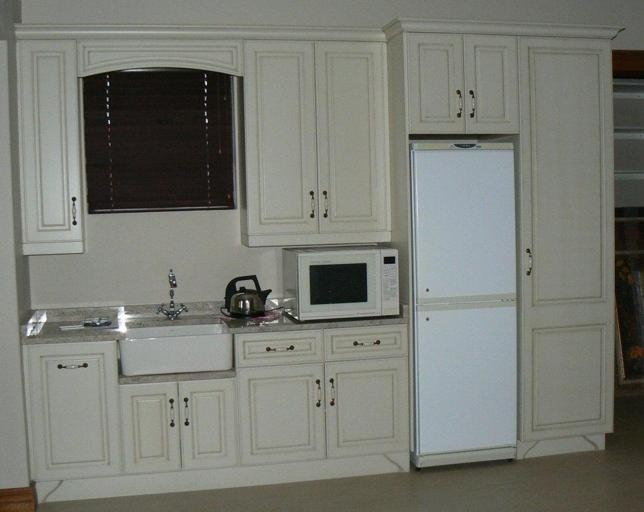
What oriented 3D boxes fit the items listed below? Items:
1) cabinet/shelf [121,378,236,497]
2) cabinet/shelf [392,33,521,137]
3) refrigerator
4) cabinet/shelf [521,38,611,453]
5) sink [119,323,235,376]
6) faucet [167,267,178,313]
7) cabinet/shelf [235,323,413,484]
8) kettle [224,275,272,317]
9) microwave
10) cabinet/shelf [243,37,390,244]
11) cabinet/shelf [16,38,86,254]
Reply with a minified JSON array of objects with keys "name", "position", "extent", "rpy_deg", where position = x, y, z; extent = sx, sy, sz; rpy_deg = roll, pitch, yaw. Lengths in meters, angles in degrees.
[{"name":"cabinet/shelf","position":[-0.838,1.122,4.368],"extent":[0.774,0.660,0.423],"rpy_deg":[-6,-9,7]},{"name":"cabinet/shelf","position":[1.019,-1.156,4.509],"extent":[0.822,0.676,0.397],"rpy_deg":[12,30,35]},{"name":"refrigerator","position":[0.920,0.318,4.405],"extent":[0.688,2.063,0.432],"rpy_deg":[-1,13,-1]},{"name":"cabinet/shelf","position":[1.640,-0.089,4.571],"extent":[0.671,2.653,0.621],"rpy_deg":[-1,13,-1]},{"name":"sink","position":[-0.907,0.582,4.329],"extent":[0.684,0.245,0.329],"rpy_deg":[-2,13,-8]},{"name":"faucet","position":[-1.010,0.243,4.625],"extent":[0.066,0.258,0.216],"rpy_deg":[-4,14,-13]},{"name":"cabinet/shelf","position":[-0.036,0.926,4.337],"extent":[1.088,0.868,0.405],"rpy_deg":[-1,-1,-8]},{"name":"kettle","position":[-0.511,0.253,4.634],"extent":[0.322,0.260,0.362],"rpy_deg":[-2,13,-6]},{"name":"microwave","position":[0.165,0.180,4.388],"extent":[0.709,0.440,0.480],"rpy_deg":[-1,2,-13]},{"name":"cabinet/shelf","position":[-0.025,-0.741,4.479],"extent":[0.948,1.307,0.303],"rpy_deg":[-2,14,-6]},{"name":"cabinet/shelf","position":[-1.701,-0.672,4.242],"extent":[0.377,1.300,0.267],"rpy_deg":[-2,14,-5]}]
